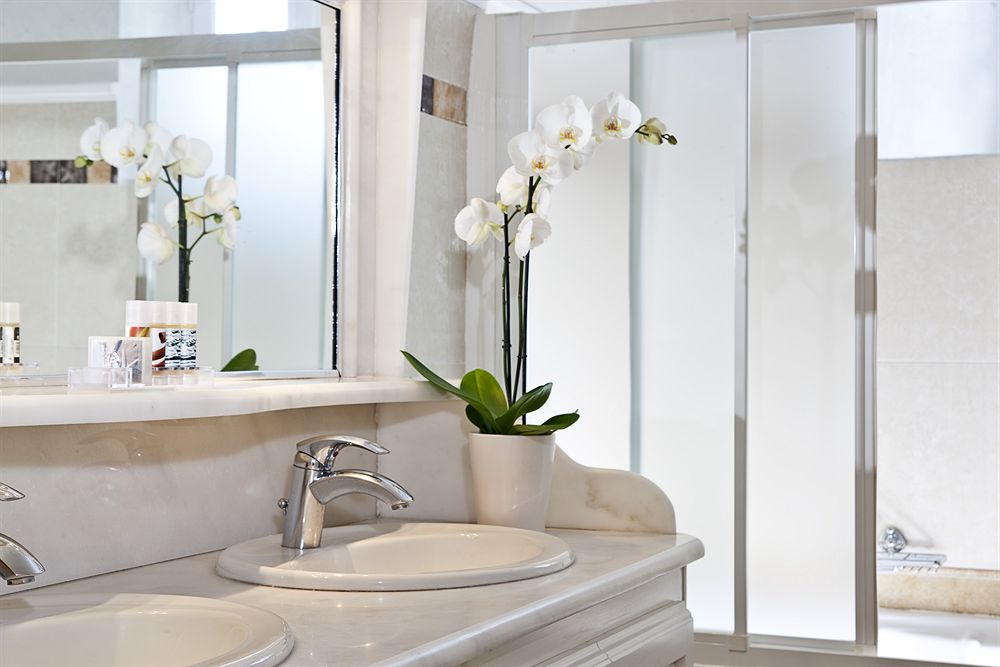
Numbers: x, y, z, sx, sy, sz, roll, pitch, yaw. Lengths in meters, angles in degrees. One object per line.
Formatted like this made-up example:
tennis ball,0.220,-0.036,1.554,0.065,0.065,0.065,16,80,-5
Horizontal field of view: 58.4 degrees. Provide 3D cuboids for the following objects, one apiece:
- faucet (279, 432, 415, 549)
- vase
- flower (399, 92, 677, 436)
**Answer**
faucet,-0.299,0.304,1.739,0.277,0.215,0.149,0,1,3
vase,0.034,0.312,2.028,0.214,0.221,0.207,0,7,-5
flower,0.049,-0.148,2.096,0.520,0.763,0.511,-1,2,-30
